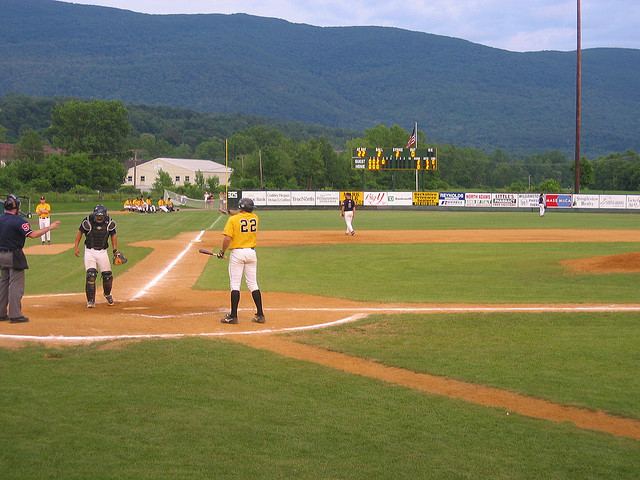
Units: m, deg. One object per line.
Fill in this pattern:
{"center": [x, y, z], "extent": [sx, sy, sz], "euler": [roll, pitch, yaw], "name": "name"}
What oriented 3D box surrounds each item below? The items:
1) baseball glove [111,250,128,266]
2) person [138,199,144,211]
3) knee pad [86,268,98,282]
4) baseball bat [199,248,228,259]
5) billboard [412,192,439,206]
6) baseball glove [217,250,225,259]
{"center": [-4.652, 0.420, 19.471], "extent": [0.354, 0.425, 0.516], "euler": [-5, 3, -18], "name": "baseball glove"}
{"center": [-14.936, -2.905, 69.388], "extent": [0.451, 0.924, 1.165], "euler": [-1, 3, -12], "name": "person"}
{"center": [-5.129, 0.786, 18.770], "extent": [0.235, 0.329, 0.185], "euler": [-3, 5, -42], "name": "knee pad"}
{"center": [-3.265, 0.420, 25.242], "extent": [0.860, 0.100, 0.192], "euler": [21, 35, -4], "name": "baseball bat"}
{"center": [9.579, -3.700, 75.505], "extent": [2.335, 1.185, 0.448], "euler": [0, 3, 3], "name": "billboard"}
{"center": [-2.121, 0.302, 17.780], "extent": [0.117, 0.149, 0.379], "euler": [2, 9, -10], "name": "baseball glove"}
